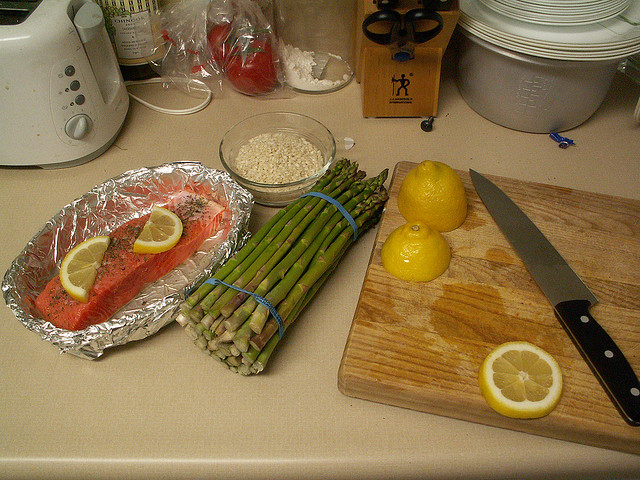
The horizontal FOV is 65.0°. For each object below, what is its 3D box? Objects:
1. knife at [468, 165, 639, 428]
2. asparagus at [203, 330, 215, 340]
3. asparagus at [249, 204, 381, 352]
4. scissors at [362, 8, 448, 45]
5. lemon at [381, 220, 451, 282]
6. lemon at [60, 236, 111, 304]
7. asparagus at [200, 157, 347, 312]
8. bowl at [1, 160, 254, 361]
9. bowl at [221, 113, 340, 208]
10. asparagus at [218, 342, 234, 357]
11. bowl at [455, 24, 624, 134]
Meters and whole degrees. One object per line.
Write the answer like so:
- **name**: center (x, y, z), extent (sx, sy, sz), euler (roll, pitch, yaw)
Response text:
- **knife**: center (0.450, 0.024, 1.162), extent (0.104, 0.061, 0.788), euler (-22, 54, -5)
- **asparagus**: center (-0.209, 0.175, 0.939), extent (0.013, 0.003, 0.018), euler (-7, 68, -20)
- **asparagus**: center (0.055, 0.014, 1.137), extent (0.084, 0.063, 0.597), euler (35, 59, 13)
- **scissors**: center (0.192, -0.489, 1.150), extent (0.156, 0.091, 0.031), euler (-3, 64, -9)
- **lemon**: center (0.213, 0.013, 1.075), extent (0.150, 0.094, 0.154), euler (9, 37, 40)
- **lemon**: center (-0.511, 0.055, 1.070), extent (0.073, 0.029, 0.170), euler (6, 44, -8)
- **asparagus**: center (-0.101, -0.002, 1.080), extent (0.046, 0.048, 0.442), euler (24, 59, 33)
- **bowl**: center (-0.405, 0.054, 1.077), extent (0.330, 0.145, 0.278), euler (29, 53, 26)
- **bowl**: center (-0.101, -0.197, 1.246), extent (0.294, 0.112, 0.321), euler (-1, 56, 1)
- **asparagus**: center (-0.181, 0.202, 0.945), extent (0.019, 0.027, 0.011), euler (-30, 27, 11)
- **bowl**: center (0.597, -0.467, 1.394), extent (0.435, 0.233, 0.450), euler (1, 32, -1)
